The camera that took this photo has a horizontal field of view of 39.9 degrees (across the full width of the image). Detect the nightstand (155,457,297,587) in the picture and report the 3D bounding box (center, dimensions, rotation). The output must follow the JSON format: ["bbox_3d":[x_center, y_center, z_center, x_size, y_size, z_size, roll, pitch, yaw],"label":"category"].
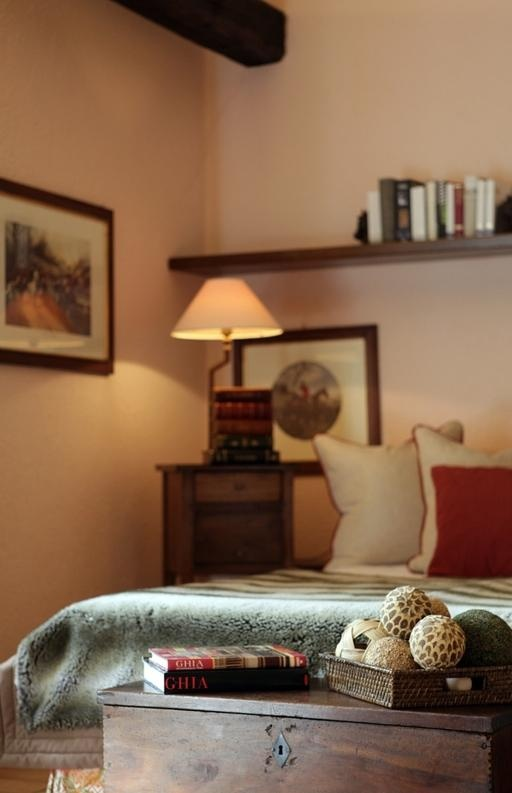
[{"bbox_3d":[-0.110,0.473,3.041,0.774,0.705,0.441,-1,-4,1],"label":"nightstand"}]

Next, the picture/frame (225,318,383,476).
[{"bbox_3d":[0.236,0.010,3.146,0.793,0.702,0.054,-1,0,22],"label":"picture/frame"}]

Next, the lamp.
[{"bbox_3d":[-0.132,-0.141,3.144,0.472,0.798,0.632,-1,3,-3],"label":"lamp"}]
